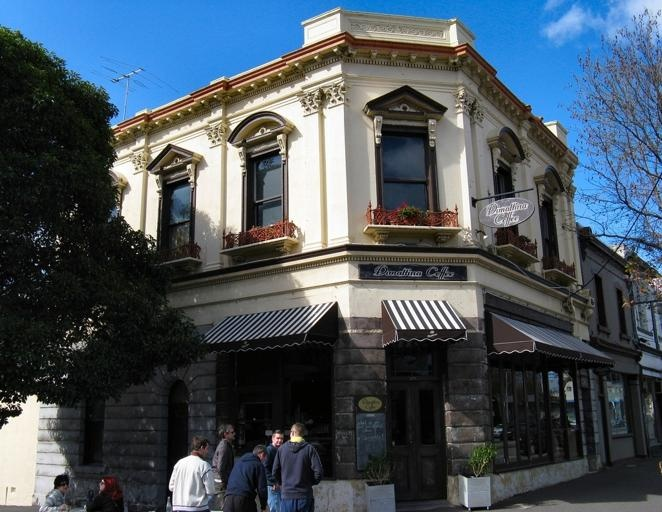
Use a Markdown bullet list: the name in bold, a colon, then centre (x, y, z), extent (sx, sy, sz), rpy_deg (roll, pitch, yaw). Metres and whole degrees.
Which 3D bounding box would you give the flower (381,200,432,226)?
- **flower**: centre (2.143, -1.244, 18.844), extent (1.324, 0.714, 0.302), rpy_deg (1, -19, -10)

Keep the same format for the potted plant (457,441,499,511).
- **potted plant**: centre (3.787, 5.803, 17.557), extent (1.145, 2.578, 0.960), rpy_deg (4, -12, -7)
